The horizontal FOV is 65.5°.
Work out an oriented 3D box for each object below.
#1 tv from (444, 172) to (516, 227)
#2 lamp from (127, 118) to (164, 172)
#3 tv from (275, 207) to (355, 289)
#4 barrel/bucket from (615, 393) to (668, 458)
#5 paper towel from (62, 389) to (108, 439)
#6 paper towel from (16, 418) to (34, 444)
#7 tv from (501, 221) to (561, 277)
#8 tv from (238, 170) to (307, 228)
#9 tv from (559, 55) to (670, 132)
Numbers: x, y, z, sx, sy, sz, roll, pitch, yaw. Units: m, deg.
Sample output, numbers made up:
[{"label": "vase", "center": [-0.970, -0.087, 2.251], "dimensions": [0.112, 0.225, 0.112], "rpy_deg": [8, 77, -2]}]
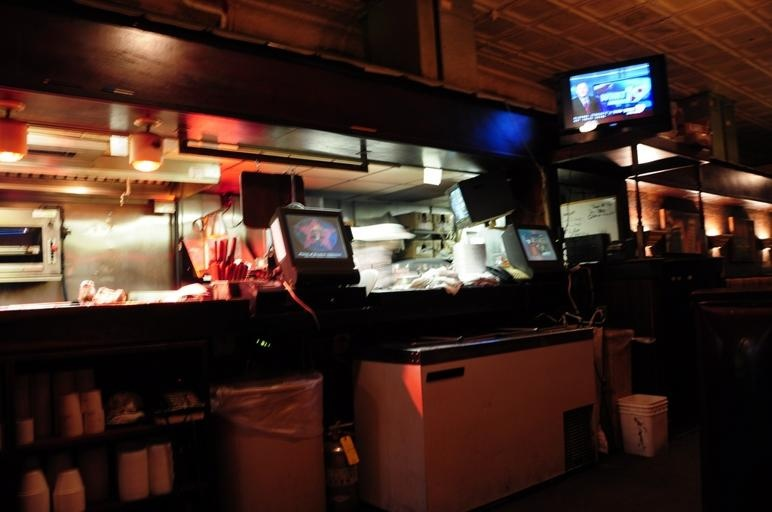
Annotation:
[{"label": "tv", "center": [0.861, -0.510, 5.507], "dimensions": [0.541, 0.371, 0.541], "rpy_deg": [-18, -4, -40]}, {"label": "lamp", "center": [-1.634, -0.754, 4.091], "dimensions": [0.205, 0.302, 0.366], "rpy_deg": [-4, -2, -24]}, {"label": "tv", "center": [-0.470, -0.038, 3.881], "dimensions": [0.538, 0.478, 0.290], "rpy_deg": [1, -26, -38]}, {"label": "barrel/bucket", "center": [1.972, 1.376, 4.918], "dimensions": [0.466, 0.501, 0.438], "rpy_deg": [0, -6, 0]}, {"label": "paper towel", "center": [-1.684, 0.899, 3.448], "dimensions": [0.260, 0.237, 0.225], "rpy_deg": [-2, -5, -16]}, {"label": "paper towel", "center": [-1.963, 0.955, 3.277], "dimensions": [0.121, 0.115, 0.116], "rpy_deg": [5, -9, -38]}, {"label": "tv", "center": [1.204, -0.040, 5.004], "dimensions": [0.474, 0.393, 0.236], "rpy_deg": [0, -29, -29]}, {"label": "tv", "center": [-0.887, -0.448, 4.686], "dimensions": [0.700, 0.502, 0.092], "rpy_deg": [-1, -1, -26]}, {"label": "tv", "center": [2.047, -1.422, 5.344], "dimensions": [1.057, 0.675, 0.137], "rpy_deg": [-5, -8, 21]}]
